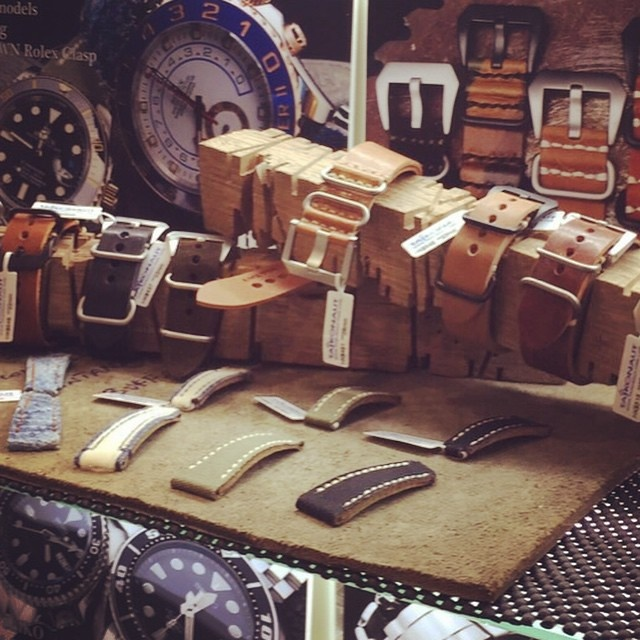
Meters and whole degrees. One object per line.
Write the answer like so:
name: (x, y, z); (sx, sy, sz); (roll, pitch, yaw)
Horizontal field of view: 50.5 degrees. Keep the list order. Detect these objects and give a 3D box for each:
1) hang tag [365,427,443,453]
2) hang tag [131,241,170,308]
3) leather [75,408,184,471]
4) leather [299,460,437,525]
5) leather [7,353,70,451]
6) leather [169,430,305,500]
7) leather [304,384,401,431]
hang tag: (0.091, 0.124, 0.714); (0.102, 0.005, 0.022); (5, 22, 17)
hang tag: (-0.219, -0.061, 0.891); (0.052, 0.078, 0.013); (27, -3, 10)
leather: (-0.215, 0.122, 0.712); (0.050, 0.020, 0.111); (8, 17, -4)
leather: (0.043, 0.155, 0.623); (0.123, 0.027, 0.050); (-7, 17, -36)
leather: (-0.323, 0.097, 0.797); (0.056, 0.017, 0.171); (2, 16, -6)
leather: (-0.086, 0.138, 0.653); (0.108, 0.016, 0.048); (-17, 23, -41)
leather: (0.032, 0.095, 0.766); (0.098, 0.020, 0.045); (-10, 16, -40)
